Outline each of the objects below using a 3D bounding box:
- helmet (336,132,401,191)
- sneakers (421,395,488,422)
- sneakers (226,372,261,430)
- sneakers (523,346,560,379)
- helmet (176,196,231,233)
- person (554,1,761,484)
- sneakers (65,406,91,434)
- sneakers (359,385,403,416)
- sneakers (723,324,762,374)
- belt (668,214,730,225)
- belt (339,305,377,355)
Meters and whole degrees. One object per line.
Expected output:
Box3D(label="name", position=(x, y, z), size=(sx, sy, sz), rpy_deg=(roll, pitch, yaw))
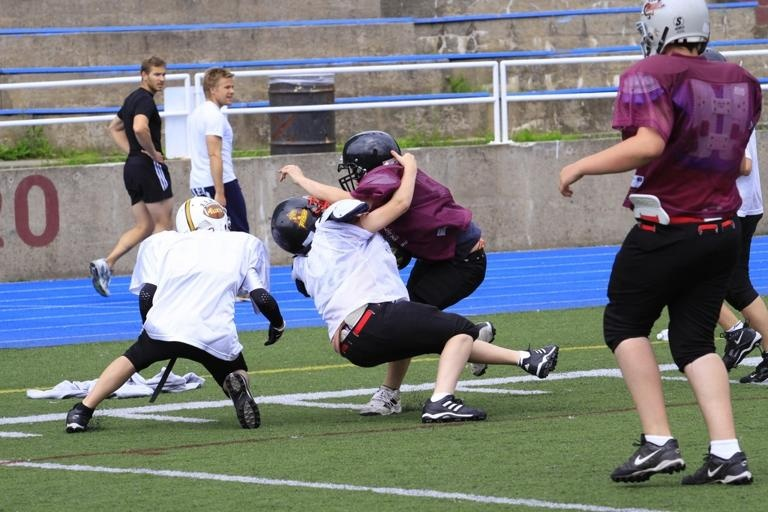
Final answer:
Box3D(label="helmet", position=(-0.110, -0.784, 10.767), size=(0.596, 0.431, 0.421), rpy_deg=(-2, 10, 12))
Box3D(label="sneakers", position=(0.506, 1.195, 10.252), size=(0.569, 0.206, 0.184), rpy_deg=(0, -7, -4))
Box3D(label="sneakers", position=(-1.093, 1.109, 10.332), size=(0.202, 0.486, 0.253), rpy_deg=(-27, -9, 4))
Box3D(label="sneakers", position=(1.259, 0.814, 10.558), size=(0.275, 0.137, 0.429), rpy_deg=(10, 12, 17))
Box3D(label="helmet", position=(-1.526, -0.284, 10.752), size=(0.381, 0.300, 0.271), rpy_deg=(-13, 45, 23))
Box3D(label="person", position=(2.018, -0.081, 9.066), size=(1.231, 3.257, 1.020), rpy_deg=(-8, 14, -22))
Box3D(label="sneakers", position=(-2.378, 1.258, 10.214), size=(0.118, 0.134, 0.308), rpy_deg=(30, -9, -14))
Box3D(label="sneakers", position=(-0.004, 1.177, 10.609), size=(0.168, 0.160, 0.396), rpy_deg=(-3, -7, 42))
Box3D(label="sneakers", position=(3.013, 0.777, 11.079), size=(0.229, 0.413, 0.141), rpy_deg=(34, 28, -7))
Box3D(label="belt", position=(2.175, -0.243, 9.041), size=(0.434, 0.059, 0.036), rpy_deg=(-3, 13, -7))
Box3D(label="belt", position=(-0.230, 0.575, 10.171), size=(0.265, 0.132, 0.354), rpy_deg=(-42, -4, -40))
